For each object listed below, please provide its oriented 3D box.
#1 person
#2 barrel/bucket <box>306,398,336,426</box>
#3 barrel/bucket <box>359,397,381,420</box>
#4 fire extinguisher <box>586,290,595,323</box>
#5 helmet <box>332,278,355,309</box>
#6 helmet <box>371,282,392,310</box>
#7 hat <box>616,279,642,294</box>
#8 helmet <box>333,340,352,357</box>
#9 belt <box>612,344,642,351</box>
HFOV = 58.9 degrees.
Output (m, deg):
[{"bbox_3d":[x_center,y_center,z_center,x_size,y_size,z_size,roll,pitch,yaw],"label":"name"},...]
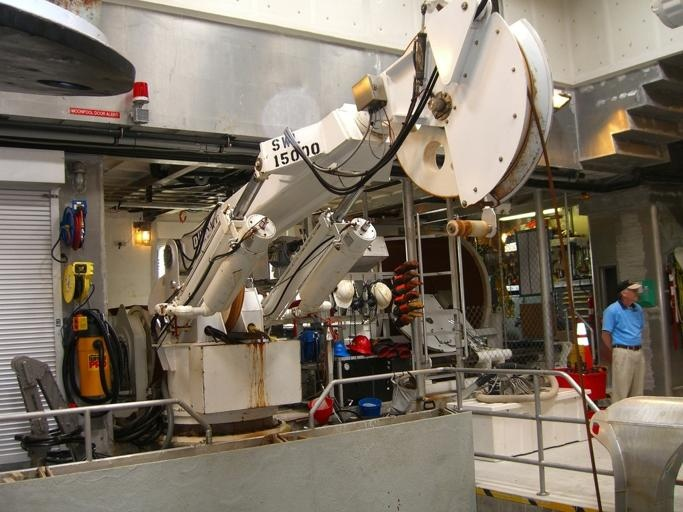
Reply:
[{"bbox_3d":[3.666,1.112,7.885,0.488,1.544,0.425,-3,-4,25],"label":"person"},{"bbox_3d":[-0.245,2.014,7.915,0.148,0.344,0.345,-4,-5,38],"label":"barrel/bucket"},{"bbox_3d":[0.389,2.083,8.307,0.228,0.175,0.246,0,-6,0],"label":"barrel/bucket"},{"bbox_3d":[4.570,0.938,11.071,0.049,0.509,0.177,0,-4,-21],"label":"fire extinguisher"},{"bbox_3d":[-0.001,0.560,9.057,0.314,0.439,0.360,-1,-4,2],"label":"helmet"},{"bbox_3d":[0.613,0.605,9.145,0.277,0.421,0.349,-25,-13,5],"label":"helmet"},{"bbox_3d":[4.120,0.428,8.639,0.237,0.139,0.341,4,-12,-38],"label":"hat"},{"bbox_3d":[0.003,1.379,9.005,0.305,0.250,0.174,2,-5,-43],"label":"helmet"},{"bbox_3d":[3.688,1.175,7.825,0.351,0.089,0.151,-1,-4,-1],"label":"belt"}]
